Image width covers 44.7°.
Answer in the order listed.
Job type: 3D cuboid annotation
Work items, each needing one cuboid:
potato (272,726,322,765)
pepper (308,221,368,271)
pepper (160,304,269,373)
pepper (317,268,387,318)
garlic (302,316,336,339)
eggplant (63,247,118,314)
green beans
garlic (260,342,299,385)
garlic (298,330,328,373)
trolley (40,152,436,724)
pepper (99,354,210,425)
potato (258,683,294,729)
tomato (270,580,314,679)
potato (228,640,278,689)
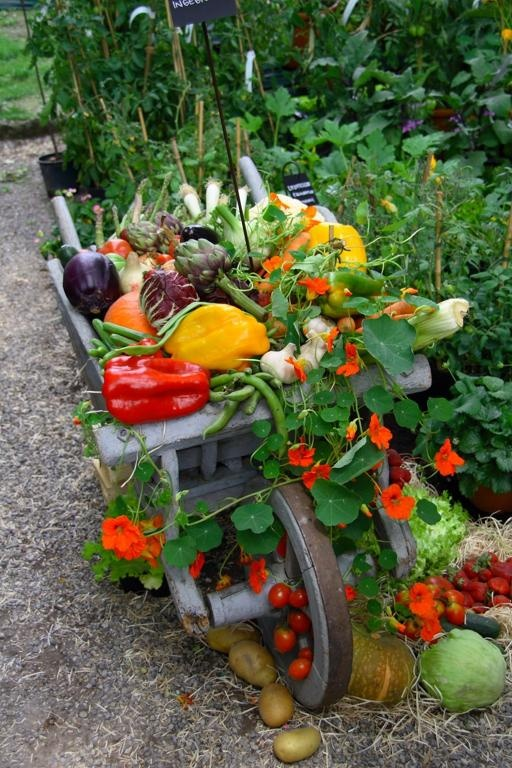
[{"bbox_3d":[0.103,0.917,1.578,0.118,0.059,0.065,2,34,-38],"label":"potato"},{"bbox_3d":[0.242,-0.391,1.719,0.193,0.171,0.173,-2,18,-9],"label":"pepper"},{"bbox_3d":[-0.104,-0.126,1.604,0.215,0.120,0.160,-25,42,-16],"label":"pepper"},{"bbox_3d":[0.230,-0.221,1.521,0.150,0.105,0.065,2,42,0],"label":"pepper"},{"bbox_3d":[0.156,-0.141,1.559,0.068,0.037,0.053,-15,35,1],"label":"garlic"},{"bbox_3d":[-0.497,-0.326,1.979,0.183,0.182,0.197,-11,28,-19],"label":"eggplant"},{"bbox_3d":[-0.031,0.069,1.535,0.198,0.196,0.168,-7,26,0],"label":"green beans"},{"bbox_3d":[0.057,-0.047,1.613,0.097,0.105,0.104,35,2,4],"label":"garlic"},{"bbox_3d":[0.140,-0.074,1.545,0.070,0.097,0.044,14,22,4],"label":"garlic"},{"bbox_3d":[0.068,0.099,1.647,0.912,1.285,0.971,-7,27,-23],"label":"trolley"},{"bbox_3d":[-0.236,0.006,1.497,0.243,0.141,0.178,-9,25,-4],"label":"pepper"},{"bbox_3d":[0.049,0.858,1.654,0.081,0.059,0.102,5,38,-3],"label":"potato"},{"bbox_3d":[0.087,0.646,1.661,0.145,0.254,0.090,3,-1,-17],"label":"tomato"},{"bbox_3d":[-0.010,0.796,1.814,0.141,0.098,0.103,33,6,26],"label":"potato"}]
